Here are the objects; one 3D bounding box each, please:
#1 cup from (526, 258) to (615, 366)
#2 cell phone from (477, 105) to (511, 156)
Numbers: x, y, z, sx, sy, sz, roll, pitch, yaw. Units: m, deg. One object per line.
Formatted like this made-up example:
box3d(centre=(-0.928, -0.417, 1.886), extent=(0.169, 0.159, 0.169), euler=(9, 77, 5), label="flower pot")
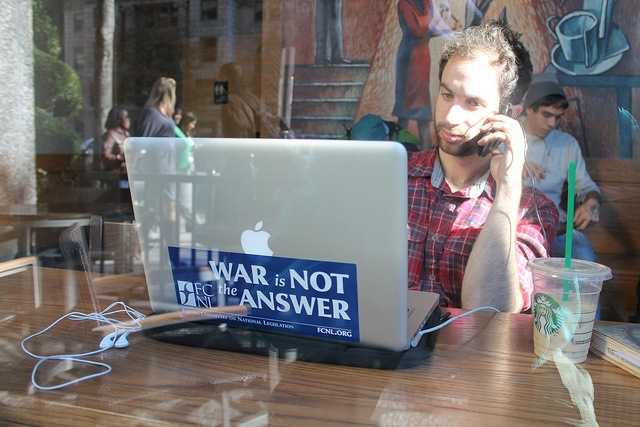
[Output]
box3d(centre=(0.810, 0.328, 2.201), extent=(0.385, 0.377, 0.339), euler=(2, 5, 7), label="cup")
box3d(centre=(0.855, -0.406, 2.956), extent=(0.070, 0.322, 0.079), euler=(15, 25, -1), label="cell phone")
